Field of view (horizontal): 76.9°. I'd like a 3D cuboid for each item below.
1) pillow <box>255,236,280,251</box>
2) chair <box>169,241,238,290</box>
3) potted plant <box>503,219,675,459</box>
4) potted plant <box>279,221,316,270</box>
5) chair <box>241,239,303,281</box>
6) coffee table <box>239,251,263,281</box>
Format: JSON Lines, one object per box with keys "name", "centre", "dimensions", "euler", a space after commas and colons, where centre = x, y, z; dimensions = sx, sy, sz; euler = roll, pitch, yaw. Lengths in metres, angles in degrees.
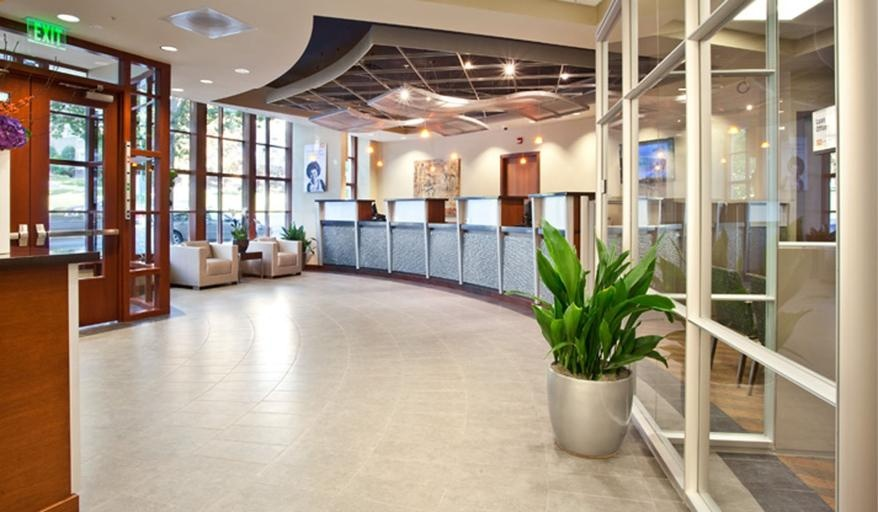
{"name": "pillow", "centre": [-3.650, -0.341, 11.722], "dimensions": [0.372, 0.380, 0.537], "euler": [-1, 0, 29]}
{"name": "chair", "centre": [-4.300, 0.160, 10.150], "dimensions": [0.963, 0.906, 0.991], "euler": [-1, -1, 28]}
{"name": "potted plant", "centre": [1.261, 0.577, 4.244], "dimensions": [1.315, 1.606, 1.371], "euler": [-2, 5, -5]}
{"name": "potted plant", "centre": [-3.476, -0.335, 12.826], "dimensions": [1.006, 0.924, 0.949], "euler": [-1, 0, 3]}
{"name": "chair", "centre": [-3.581, 0.046, 11.726], "dimensions": [0.929, 0.832, 0.926], "euler": [0, 0, 32]}
{"name": "coffee table", "centre": [-3.871, 0.168, 11.406], "dimensions": [0.523, 0.601, 0.671], "euler": [-1, 3, -21]}
